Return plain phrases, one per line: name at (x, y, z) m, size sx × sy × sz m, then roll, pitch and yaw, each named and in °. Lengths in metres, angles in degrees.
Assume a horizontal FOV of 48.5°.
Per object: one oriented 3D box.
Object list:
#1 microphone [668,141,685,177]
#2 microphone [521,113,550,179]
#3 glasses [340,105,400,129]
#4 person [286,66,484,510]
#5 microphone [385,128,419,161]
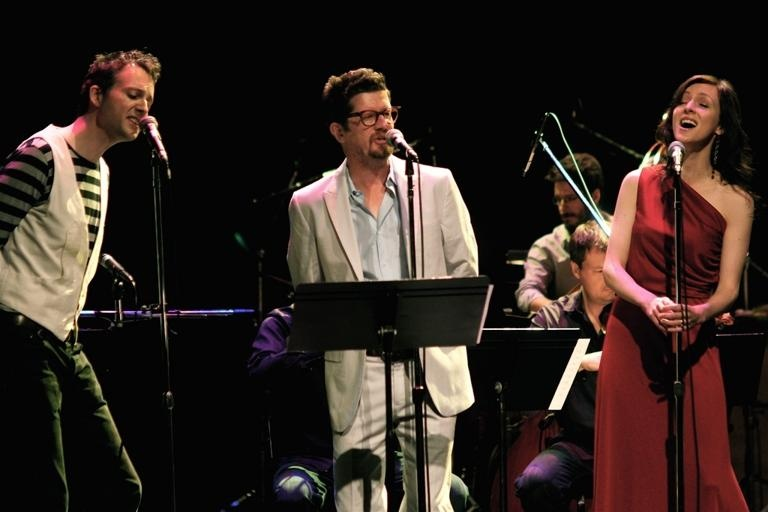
microphone at (1.707, -0.553, 4.929) m, size 0.094 × 0.233 × 0.304 m, roll -6°, pitch -8°, yaw 20°
microphone at (1.273, -0.898, 7.120) m, size 0.171 × 0.566 × 0.094 m, roll 22°, pitch -1°, yaw -17°
glasses at (-0.076, -0.851, 5.204) m, size 0.199 × 0.064 × 0.204 m, roll -3°, pitch -9°, yaw -33°
person at (-0.003, 0.207, 5.198) m, size 1.157 × 2.754 × 0.416 m, roll -4°, pitch -6°, yaw 2°
microphone at (0.117, -0.658, 4.972) m, size 0.096 × 0.109 × 0.301 m, roll -30°, pitch 31°, yaw -14°
